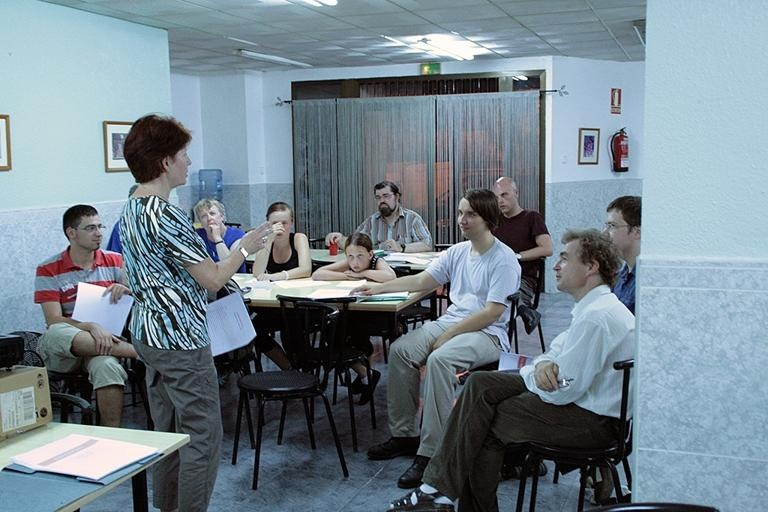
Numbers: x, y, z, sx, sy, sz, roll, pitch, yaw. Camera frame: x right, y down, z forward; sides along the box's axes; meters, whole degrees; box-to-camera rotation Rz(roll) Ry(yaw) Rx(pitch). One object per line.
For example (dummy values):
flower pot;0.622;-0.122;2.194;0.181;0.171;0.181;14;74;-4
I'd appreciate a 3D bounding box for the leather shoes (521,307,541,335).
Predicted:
leather shoes;1.297;0.556;5.009;0.091;0.245;0.231;-15;11;28

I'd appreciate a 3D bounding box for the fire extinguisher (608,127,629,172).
fire extinguisher;3.774;-1.669;9.041;0.416;0.692;0.153;-10;14;-34

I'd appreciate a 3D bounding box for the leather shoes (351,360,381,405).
leather shoes;-0.150;1.029;4.524;0.154;0.381;0.221;8;17;-34

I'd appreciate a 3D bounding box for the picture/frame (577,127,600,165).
picture/frame;3.144;-1.673;8.696;0.470;0.533;0.027;-7;12;-33

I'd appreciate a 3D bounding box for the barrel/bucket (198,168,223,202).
barrel/bucket;-2.864;-1.156;9.392;0.395;0.642;0.406;-4;-8;-1

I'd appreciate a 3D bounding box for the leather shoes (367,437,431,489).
leather shoes;0.092;1.308;3.666;0.249;0.096;0.294;-1;4;-26
